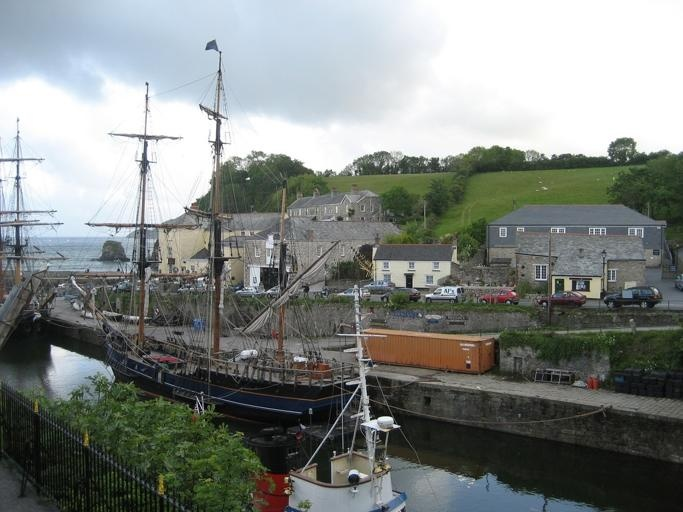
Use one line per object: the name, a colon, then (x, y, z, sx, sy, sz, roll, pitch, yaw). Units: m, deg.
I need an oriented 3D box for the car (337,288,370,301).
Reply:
car: (1.027, 2.476, 55.660, 2.582, 0.958, 1.435, 5, 6, 29)

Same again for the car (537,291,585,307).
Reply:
car: (14.789, 3.052, 49.931, 3.184, 1.226, 1.547, 3, 2, 18)

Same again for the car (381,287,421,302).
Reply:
car: (4.655, 3.088, 56.799, 2.714, 1.120, 1.318, 3, 0, 6)

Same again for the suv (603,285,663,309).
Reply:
suv: (19.064, 2.651, 48.311, 2.771, 1.381, 1.673, 4, 4, 25)

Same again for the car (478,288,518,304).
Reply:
car: (11.344, 2.857, 52.689, 2.196, 1.104, 1.360, 5, 3, 16)

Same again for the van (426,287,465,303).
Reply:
van: (7.881, 2.824, 55.486, 2.290, 1.221, 1.395, 2, 1, 14)
